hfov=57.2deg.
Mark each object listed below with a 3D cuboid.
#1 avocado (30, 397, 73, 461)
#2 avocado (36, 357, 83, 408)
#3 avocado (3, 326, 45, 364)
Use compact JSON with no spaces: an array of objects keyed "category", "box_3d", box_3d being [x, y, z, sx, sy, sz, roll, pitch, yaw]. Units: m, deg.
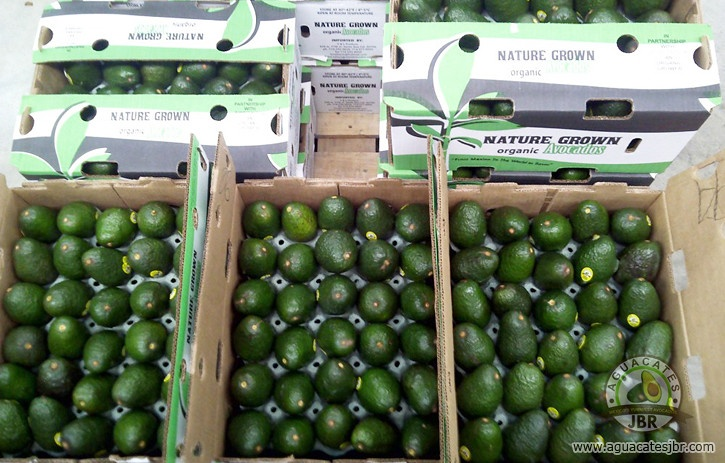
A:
[{"category":"avocado","box_3d":[-1.872,1.148,4.003,0.205,0.205,0.356,-15,93,14]},{"category":"avocado","box_3d":[-1.888,0.938,4.151,0.234,0.233,0.311,13,70,-31]},{"category":"avocado","box_3d":[-2.066,0.710,4.128,0.227,0.226,0.232,10,91,-9]}]
